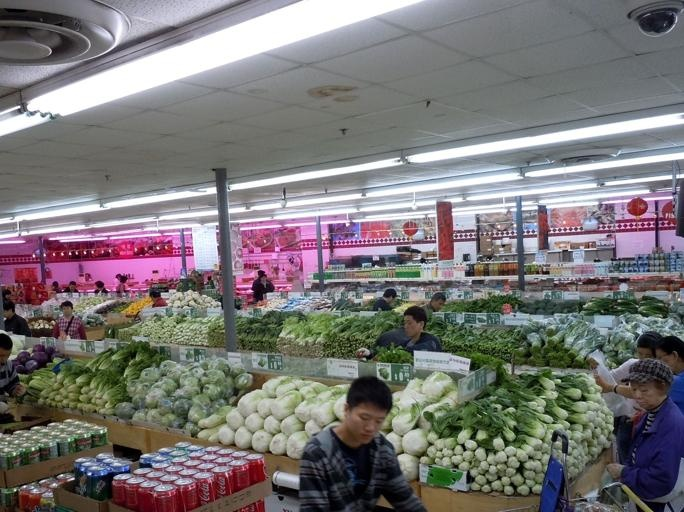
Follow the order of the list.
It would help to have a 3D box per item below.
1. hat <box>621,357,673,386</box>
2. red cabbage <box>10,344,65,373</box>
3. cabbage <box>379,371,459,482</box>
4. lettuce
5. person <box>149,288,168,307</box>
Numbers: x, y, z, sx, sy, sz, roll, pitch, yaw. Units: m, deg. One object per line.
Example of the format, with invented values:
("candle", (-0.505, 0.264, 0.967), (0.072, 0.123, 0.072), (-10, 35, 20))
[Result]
("hat", (2.369, 0.891, 3.782), (0.318, 0.119, 0.196), (9, -7, 8))
("red cabbage", (-4.800, 1.590, 7.521), (0.584, 0.155, 0.525), (-3, 3, 26))
("cabbage", (0.774, 1.530, 4.478), (0.584, 0.411, 0.852), (-11, 29, 30))
("lettuce", (-3.223, 1.555, 6.336), (1.286, 0.368, 0.961), (-2, 10, 23))
("person", (-4.757, 1.092, 12.653), (0.382, 0.458, 1.057), (-2, 0, -19))
